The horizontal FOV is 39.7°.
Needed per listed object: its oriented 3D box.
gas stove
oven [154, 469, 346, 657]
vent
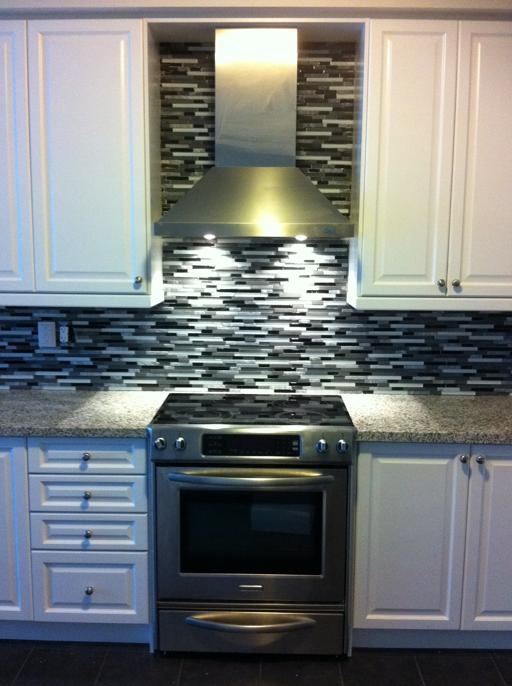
[{"bbox_3d":[-0.005,0.333,2.733,0.735,0.162,0.511,-1,7,2],"label":"gas stove"},{"bbox_3d":[-0.031,0.697,2.861,0.898,0.849,0.655,0,1,2],"label":"oven"},{"bbox_3d":[-0.003,-0.778,2.699,0.736,0.656,0.537,0,21,-1],"label":"vent"}]
